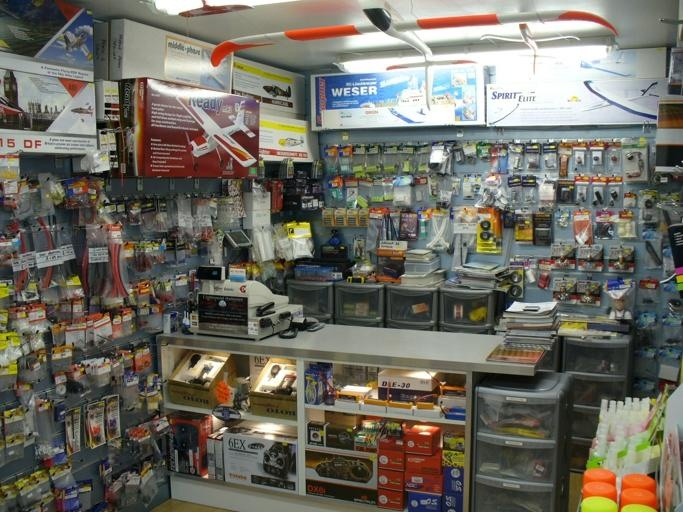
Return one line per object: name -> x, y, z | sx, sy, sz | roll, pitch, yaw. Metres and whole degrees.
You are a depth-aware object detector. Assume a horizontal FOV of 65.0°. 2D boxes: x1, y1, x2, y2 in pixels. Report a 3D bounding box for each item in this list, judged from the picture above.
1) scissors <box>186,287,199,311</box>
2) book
scissors -> -1.314, 0.397, 4.793 | 0.139, 0.201, 0.056 | 0, -7, 23
book -> 1.444, 0.564, 4.127 | 0.371, 0.336, 0.530 | 2, 7, 26
